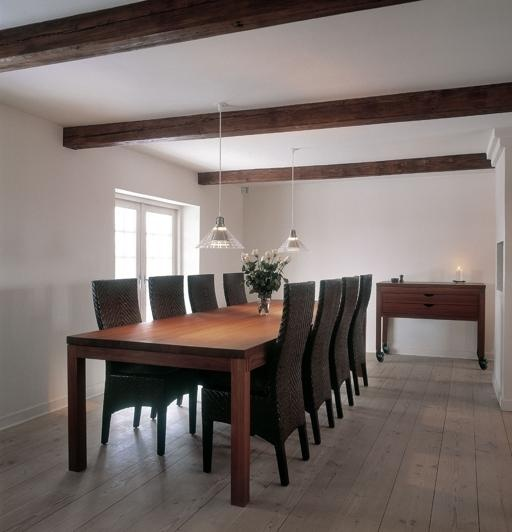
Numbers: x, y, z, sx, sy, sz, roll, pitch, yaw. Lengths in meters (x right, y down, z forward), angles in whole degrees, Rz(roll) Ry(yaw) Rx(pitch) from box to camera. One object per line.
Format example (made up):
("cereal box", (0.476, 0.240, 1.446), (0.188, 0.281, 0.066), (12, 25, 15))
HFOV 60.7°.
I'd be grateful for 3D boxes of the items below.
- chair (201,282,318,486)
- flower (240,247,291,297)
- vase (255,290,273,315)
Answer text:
("chair", (0.078, 0.585, 2.494), (0.452, 0.985, 0.416), (2, 0, 34))
("flower", (0.048, 0.084, 3.716), (0.369, 0.431, 0.390), (-13, -21, 39))
("vase", (0.079, 0.305, 3.674), (0.140, 0.276, 0.152), (1, -6, 9))
